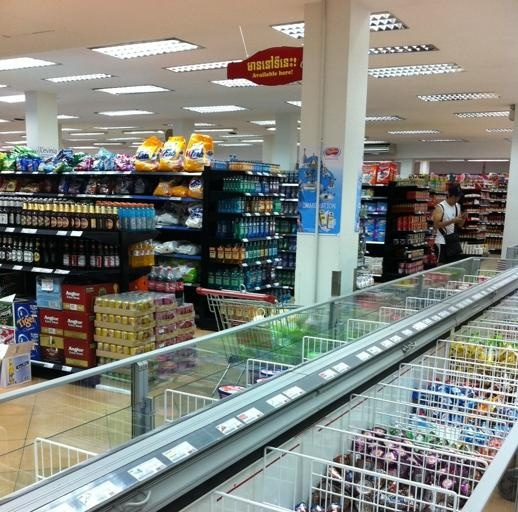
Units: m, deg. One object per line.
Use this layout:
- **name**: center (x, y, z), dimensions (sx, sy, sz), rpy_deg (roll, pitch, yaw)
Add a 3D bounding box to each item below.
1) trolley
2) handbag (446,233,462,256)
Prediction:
- **trolley**: center (0.019, 0.634, 3.718), dimensions (0.524, 0.649, 0.872), rpy_deg (29, -17, -36)
- **handbag**: center (2.938, -0.183, 7.269), dimensions (0.335, 0.316, 0.124), rpy_deg (-4, 6, -9)
